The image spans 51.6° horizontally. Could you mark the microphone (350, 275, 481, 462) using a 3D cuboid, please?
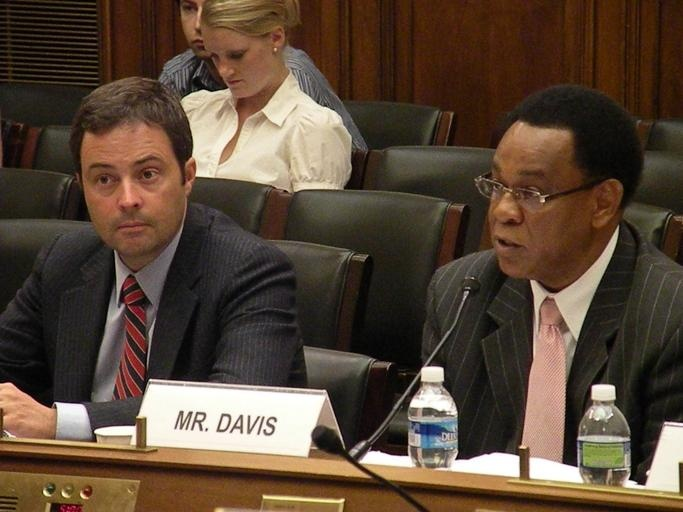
[{"bbox_3d":[0.210,0.308,1.980,0.082,0.680,0.075,32,-6,-23],"label":"microphone"}]

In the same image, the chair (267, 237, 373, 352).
[{"bbox_3d":[-0.038,0.142,2.369,0.268,0.475,0.346,1,-8,10],"label":"chair"}]

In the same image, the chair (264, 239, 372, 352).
[{"bbox_3d":[-0.042,0.143,2.371,0.269,0.475,0.343,1,-7,9],"label":"chair"}]

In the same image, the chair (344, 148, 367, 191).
[{"bbox_3d":[0.076,-0.453,3.837,0.117,0.259,0.187,-1,-40,6],"label":"chair"}]

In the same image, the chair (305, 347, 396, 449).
[{"bbox_3d":[0.029,0.372,1.917,0.190,0.333,0.236,1,-5,21],"label":"chair"}]

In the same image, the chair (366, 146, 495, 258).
[{"bbox_3d":[0.440,-0.248,3.567,0.423,0.754,0.544,3,-7,17],"label":"chair"}]

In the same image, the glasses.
[{"bbox_3d":[0.485,-0.150,1.749,0.310,0.091,0.136,5,3,23],"label":"glasses"}]

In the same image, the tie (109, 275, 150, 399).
[{"bbox_3d":[-0.558,0.230,1.924,0.074,0.381,0.041,3,23,-12],"label":"tie"}]
